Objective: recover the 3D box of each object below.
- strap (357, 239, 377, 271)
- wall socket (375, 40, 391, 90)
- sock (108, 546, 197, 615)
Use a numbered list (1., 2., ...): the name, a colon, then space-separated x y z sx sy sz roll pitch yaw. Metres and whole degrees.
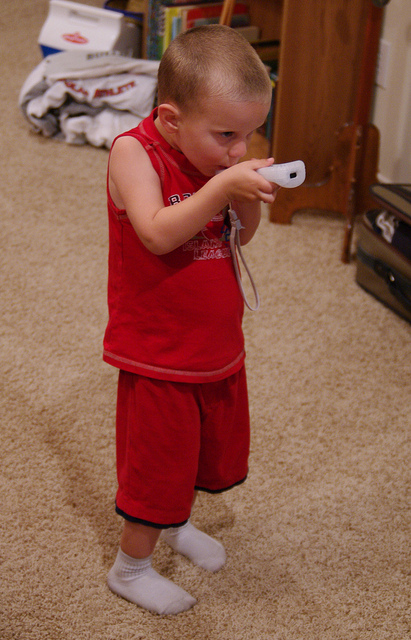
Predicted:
1. strap: 0.467 -0.194 1.549 0.046 0.024 0.068 4 39 -10
2. wall socket: 0.505 -0.736 1.523 0.012 0.134 0.096 9 21 43
3. sock: -0.082 0.402 0.814 0.114 0.086 0.047 26 32 -3
